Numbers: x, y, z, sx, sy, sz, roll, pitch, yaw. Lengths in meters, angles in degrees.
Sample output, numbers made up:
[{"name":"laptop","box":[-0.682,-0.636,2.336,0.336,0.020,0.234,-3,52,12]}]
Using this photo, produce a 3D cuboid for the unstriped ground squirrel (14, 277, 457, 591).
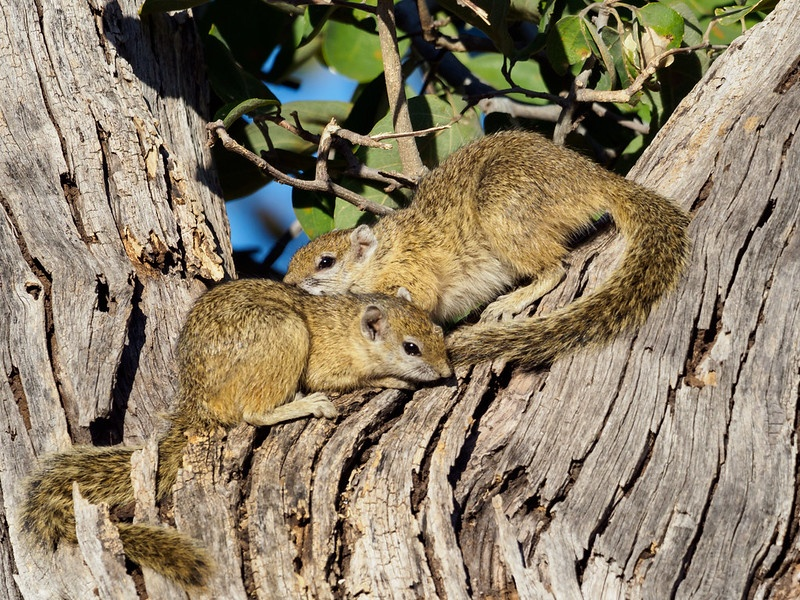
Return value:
[{"name":"unstriped ground squirrel","box":[-1.151,0.811,7.461,1.918,2.072,3.023,-21,12,-36]}]

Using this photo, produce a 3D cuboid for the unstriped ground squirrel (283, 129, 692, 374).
[{"name":"unstriped ground squirrel","box":[0.735,-0.412,7.775,2.789,2.174,1.518,9,53,-38]}]
